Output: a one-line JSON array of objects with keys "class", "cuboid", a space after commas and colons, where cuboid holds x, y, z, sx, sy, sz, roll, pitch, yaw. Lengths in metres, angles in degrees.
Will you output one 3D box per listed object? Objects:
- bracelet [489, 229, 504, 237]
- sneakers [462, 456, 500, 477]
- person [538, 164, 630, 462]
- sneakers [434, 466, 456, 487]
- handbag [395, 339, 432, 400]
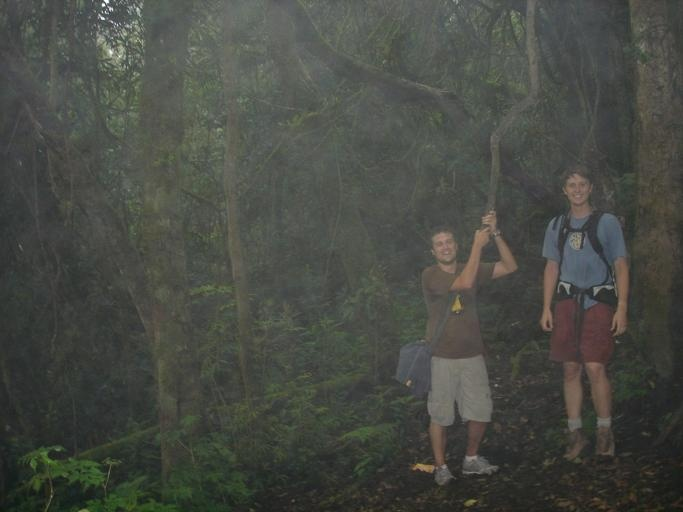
[{"class": "bracelet", "cuboid": [2.014, -0.288, 10.795, 0.120, 0.052, 0.129, -6, -8, -19]}, {"class": "sneakers", "cuboid": [1.690, 2.524, 10.154, 0.375, 0.203, 0.220, -2, 3, 7]}, {"class": "person", "cuboid": [2.933, 0.652, 10.023, 1.040, 3.537, 0.484, -7, -1, 13]}, {"class": "sneakers", "cuboid": [1.246, 2.627, 10.172, 0.246, 0.246, 0.234, -8, -2, 7]}, {"class": "handbag", "cuboid": [0.884, 1.376, 10.274, 0.180, 0.464, 0.484, 29, -14, -10]}]
